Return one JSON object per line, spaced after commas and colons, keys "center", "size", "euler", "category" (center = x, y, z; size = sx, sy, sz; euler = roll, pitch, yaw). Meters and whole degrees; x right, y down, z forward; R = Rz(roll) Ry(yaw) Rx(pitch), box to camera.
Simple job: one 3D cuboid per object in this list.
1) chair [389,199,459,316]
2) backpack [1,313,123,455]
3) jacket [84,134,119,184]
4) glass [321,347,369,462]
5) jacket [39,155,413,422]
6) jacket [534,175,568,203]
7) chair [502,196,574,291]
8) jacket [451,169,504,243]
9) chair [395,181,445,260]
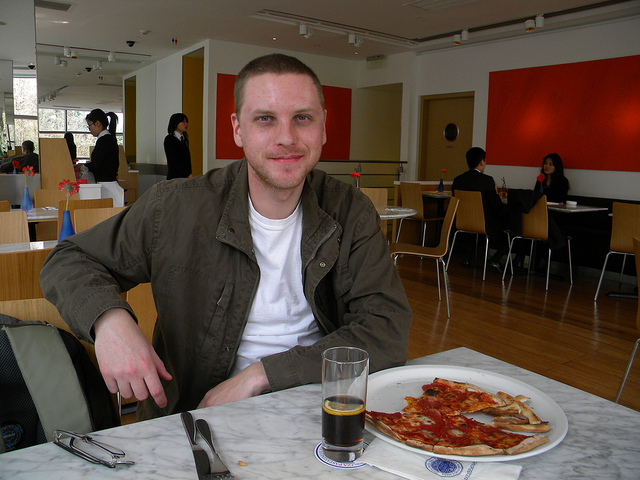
{"center": [0.935, 0.121, 4.483], "size": [0.695, 1.088, 0.670], "euler": [5, 7, 24], "category": "chair"}
{"center": [-0.590, 0.324, 1.053], "size": [0.156, 0.307, 0.202], "euler": [-10, 9, 44], "category": "backpack"}
{"center": [-2.988, -1.075, 6.409], "size": [0.407, 0.731, 0.646], "euler": [2, -5, -12], "category": "jacket"}
{"center": [0.046, 0.314, 0.894], "size": [0.090, 0.198, 0.093], "euler": [4, -5, -26], "category": "glass"}
{"center": [-0.250, 0.167, 1.329], "size": [1.002, 0.784, 0.537], "euler": [0, 11, 1], "category": "jacket"}
{"center": [3.052, -0.661, 6.130], "size": [0.231, 0.449, 0.417], "euler": [12, -6, -38], "category": "jacket"}
{"center": [2.597, -0.028, 5.518], "size": [0.695, 1.098, 0.669], "euler": [-4, 10, -19], "category": "chair"}
{"center": [1.983, -0.450, 5.796], "size": [0.612, 0.814, 0.426], "euler": [5, 12, 23], "category": "jacket"}
{"center": [1.347, -0.304, 6.249], "size": [0.577, 0.963, 0.620], "euler": [6, 15, 38], "category": "chair"}
